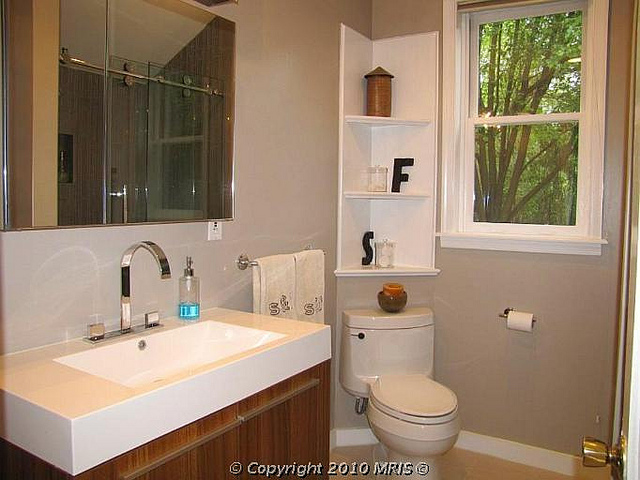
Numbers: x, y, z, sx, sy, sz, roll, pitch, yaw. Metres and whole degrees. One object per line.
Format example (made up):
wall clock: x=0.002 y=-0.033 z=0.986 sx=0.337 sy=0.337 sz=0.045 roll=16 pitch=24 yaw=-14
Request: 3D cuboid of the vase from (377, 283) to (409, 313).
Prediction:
vase: x=0.410 y=0.320 z=2.846 sx=0.156 sy=0.170 sz=0.171 roll=-2 pitch=13 yaw=-13

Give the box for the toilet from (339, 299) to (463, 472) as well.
toilet: x=0.372 y=0.718 z=2.659 sx=0.534 sy=0.916 sz=0.878 roll=0 pitch=-2 yaw=-12

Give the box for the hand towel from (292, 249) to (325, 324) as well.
hand towel: x=-0.051 y=0.223 z=2.444 sx=0.085 sy=0.331 sz=0.206 roll=7 pitch=7 yaw=25

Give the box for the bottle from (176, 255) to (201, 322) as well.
bottle: x=-0.518 y=0.181 z=1.990 sx=0.091 sy=0.247 sz=0.192 roll=2 pitch=12 yaw=-14

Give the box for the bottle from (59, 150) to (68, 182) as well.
bottle: x=-0.834 y=-0.244 z=1.625 sx=0.025 sy=0.102 sz=0.017 roll=-1 pitch=13 yaw=-29
